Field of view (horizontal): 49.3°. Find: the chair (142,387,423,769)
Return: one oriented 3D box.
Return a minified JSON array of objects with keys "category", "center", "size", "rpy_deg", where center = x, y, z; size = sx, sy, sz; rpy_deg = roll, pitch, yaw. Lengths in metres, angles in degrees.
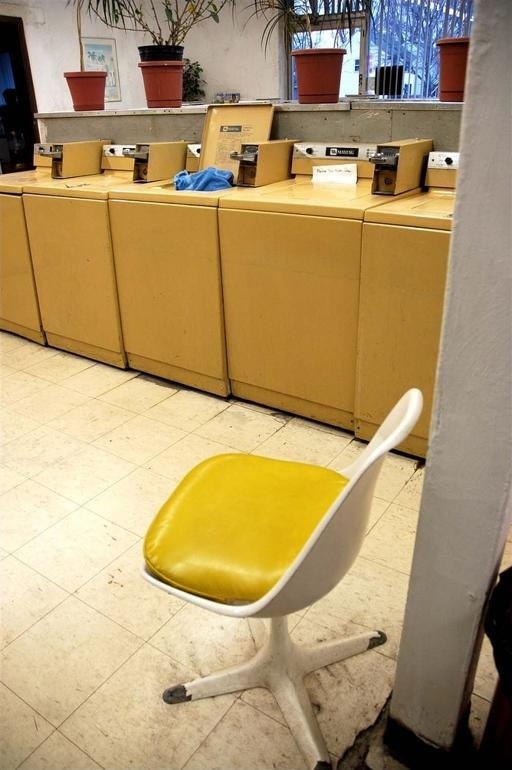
[{"category":"chair","center":[0.079,0.469,1.313],"size":[0.399,0.597,0.383],"rpy_deg":[18,42,21]}]
